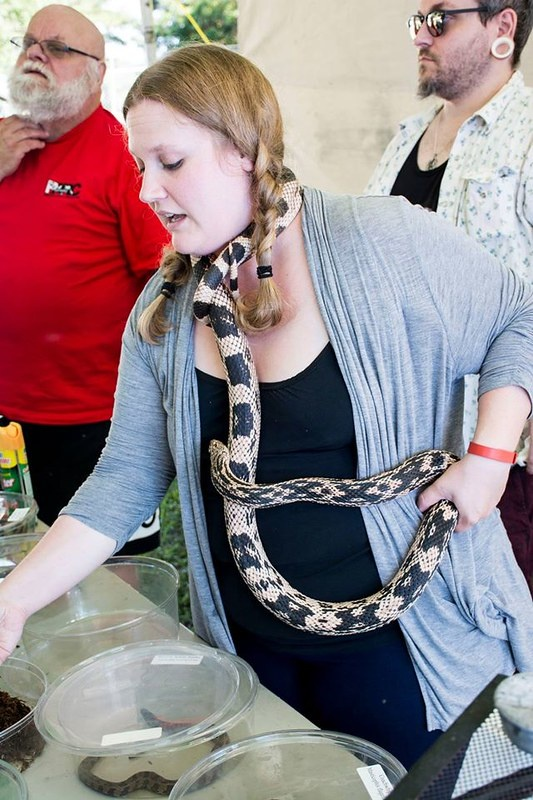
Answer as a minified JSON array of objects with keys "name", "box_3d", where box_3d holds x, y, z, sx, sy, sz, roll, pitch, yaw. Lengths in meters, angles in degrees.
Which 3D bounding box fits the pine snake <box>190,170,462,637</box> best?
[{"name":"pine snake","box_3d":[0.049,-0.042,1.516,0.652,0.731,0.770,7,21,12]}]
